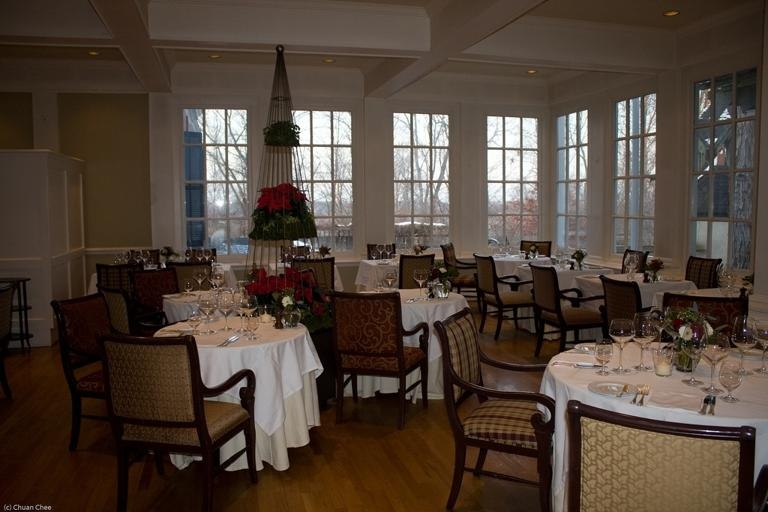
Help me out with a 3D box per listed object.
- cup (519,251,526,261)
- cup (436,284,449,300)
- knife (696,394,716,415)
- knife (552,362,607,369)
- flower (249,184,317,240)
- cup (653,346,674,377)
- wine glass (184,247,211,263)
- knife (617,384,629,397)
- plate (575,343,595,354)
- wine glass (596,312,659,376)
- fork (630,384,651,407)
[{"bbox_3d":[2.353,-0.008,9.431,0.110,0.151,0.170,-1,3,-35],"label":"cup"},{"bbox_3d":[0.632,0.394,6.111,0.141,0.138,0.140,0,6,0],"label":"cup"},{"bbox_3d":[2.008,0.912,3.473,0.076,0.144,0.061,4,-2,35],"label":"knife"},{"bbox_3d":[1.430,0.796,4.053,0.276,0.027,0.065,0,5,12],"label":"knife"},{"bbox_3d":[-0.982,-0.400,5.376,0.559,0.530,0.573,-1,5,-8],"label":"flower"},{"bbox_3d":[1.989,0.741,3.965,0.128,0.199,0.165,1,6,27],"label":"cup"},{"bbox_3d":[-2.842,-0.009,8.458,0.181,0.182,0.177,3,46,-10],"label":"wine glass"},{"bbox_3d":[1.568,0.881,3.674,0.036,0.025,0.144,-1,21,34],"label":"knife"},{"bbox_3d":[1.573,0.727,4.369,0.141,0.035,0.205,1,5,28],"label":"plate"},{"bbox_3d":[1.849,0.612,4.073,0.295,0.405,0.508,2,6,33],"label":"wine glass"},{"bbox_3d":[1.669,0.908,3.619,0.069,0.036,0.255,-4,7,27],"label":"fork"}]
